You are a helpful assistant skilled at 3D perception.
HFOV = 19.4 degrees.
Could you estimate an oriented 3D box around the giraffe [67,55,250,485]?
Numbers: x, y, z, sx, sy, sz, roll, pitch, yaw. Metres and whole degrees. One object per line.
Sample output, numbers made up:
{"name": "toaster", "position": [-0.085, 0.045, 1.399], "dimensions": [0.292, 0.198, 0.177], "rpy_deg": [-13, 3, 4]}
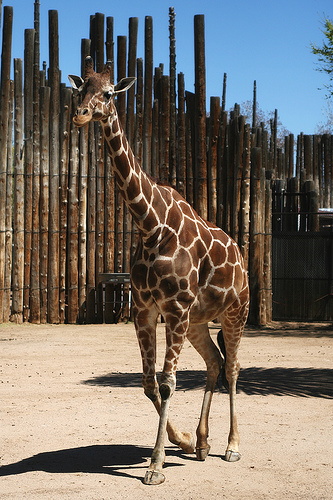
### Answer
{"name": "giraffe", "position": [0.065, 0.045, 7.251], "dimensions": [1.100, 2.699, 2.633], "rpy_deg": [1, 3, 5]}
